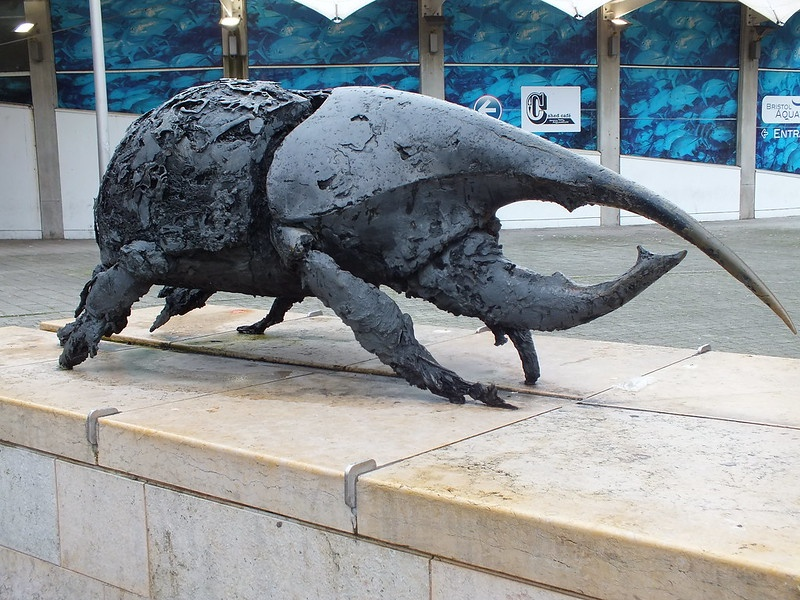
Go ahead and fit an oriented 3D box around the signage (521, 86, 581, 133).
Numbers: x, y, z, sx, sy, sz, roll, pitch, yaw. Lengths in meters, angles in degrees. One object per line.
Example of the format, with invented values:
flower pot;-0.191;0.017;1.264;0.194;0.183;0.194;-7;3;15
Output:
signage;3.682;-4.593;17.898;0.210;1.151;2.030;-22;26;-26
